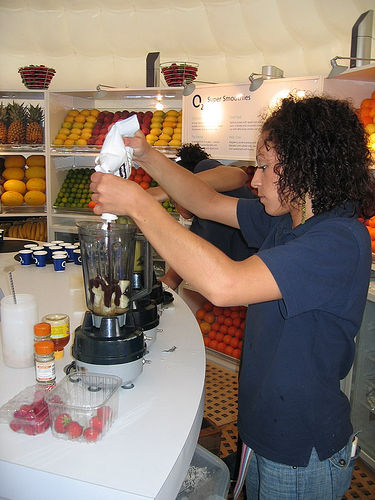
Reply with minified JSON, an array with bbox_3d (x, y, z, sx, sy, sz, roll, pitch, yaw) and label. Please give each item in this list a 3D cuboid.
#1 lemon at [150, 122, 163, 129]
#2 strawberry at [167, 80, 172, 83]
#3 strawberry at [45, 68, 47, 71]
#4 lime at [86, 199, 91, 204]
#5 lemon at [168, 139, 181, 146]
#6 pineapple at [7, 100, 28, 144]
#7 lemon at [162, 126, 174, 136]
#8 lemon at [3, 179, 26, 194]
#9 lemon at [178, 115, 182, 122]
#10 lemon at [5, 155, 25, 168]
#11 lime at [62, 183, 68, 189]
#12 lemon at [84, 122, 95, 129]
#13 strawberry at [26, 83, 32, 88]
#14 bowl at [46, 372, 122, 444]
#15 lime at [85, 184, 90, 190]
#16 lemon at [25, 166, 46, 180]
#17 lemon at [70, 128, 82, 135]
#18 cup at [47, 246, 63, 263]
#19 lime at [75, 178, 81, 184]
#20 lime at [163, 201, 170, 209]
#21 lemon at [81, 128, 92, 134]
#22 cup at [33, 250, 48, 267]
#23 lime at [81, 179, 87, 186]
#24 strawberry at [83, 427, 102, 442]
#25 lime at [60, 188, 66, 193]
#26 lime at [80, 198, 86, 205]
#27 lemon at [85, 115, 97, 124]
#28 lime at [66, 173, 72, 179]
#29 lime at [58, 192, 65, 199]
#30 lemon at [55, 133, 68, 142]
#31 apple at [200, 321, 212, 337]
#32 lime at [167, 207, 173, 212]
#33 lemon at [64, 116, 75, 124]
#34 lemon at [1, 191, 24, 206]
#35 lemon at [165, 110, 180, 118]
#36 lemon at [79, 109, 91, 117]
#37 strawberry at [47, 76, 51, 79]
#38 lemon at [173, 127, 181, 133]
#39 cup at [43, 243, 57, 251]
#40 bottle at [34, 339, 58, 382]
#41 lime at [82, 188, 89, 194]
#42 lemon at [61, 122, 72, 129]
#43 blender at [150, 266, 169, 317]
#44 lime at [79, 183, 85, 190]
[{"bbox_3d":[-0.290,-1.143,3.584,0.080,0.054,0.057,4,12,5],"label":"lemon"},{"bbox_3d":[-0.156,-1.422,3.288,0.028,0.023,0.026,-3,14,-16],"label":"strawberry"},{"bbox_3d":[-1.328,-1.679,3.640,0.009,0.027,0.026,11,9,30],"label":"strawberry"},{"bbox_3d":[-0.983,-0.480,3.843,0.040,0.025,0.049,-2,-5,-18],"label":"lime"},{"bbox_3d":[-0.108,-0.936,3.405,0.100,0.071,0.083,5,8,-4],"label":"lemon"},{"bbox_3d":[-1.673,-1.238,3.808,0.179,0.421,0.263,3,8,-24],"label":"pineapple"},{"bbox_3d":[-0.174,-1.069,3.505,0.101,0.069,0.072,3,13,0],"label":"lemon"},{"bbox_3d":[-1.743,-0.640,3.911,0.184,0.121,0.131,10,21,5],"label":"lemon"},{"bbox_3d":[-0.073,-1.215,3.611,0.033,0.069,0.074,7,8,3],"label":"lemon"},{"bbox_3d":[-1.808,-0.914,4.053,0.188,0.141,0.084,3,8,-21],"label":"lemon"},{"bbox_3d":[-1.242,-0.648,3.954,0.053,0.054,0.049,1,15,0],"label":"lime"},{"bbox_3d":[-0.986,-1.240,3.886,0.082,0.086,0.076,3,19,-2],"label":"lemon"},{"bbox_3d":[-1.517,-1.561,3.698,0.034,0.029,0.017,6,38,-1],"label":"strawberry"},{"bbox_3d":[-0.200,0.291,0.731,0.117,0.084,0.107,6,7,-1],"label":"bowl"},{"bbox_3d":[-0.996,-0.624,3.861,0.049,0.051,0.046,8,15,2],"label":"lime"},{"bbox_3d":[-1.574,-0.797,4.030,0.183,0.121,0.130,1,16,-8],"label":"lemon"},{"bbox_3d":[-1.103,-1.166,3.830,0.080,0.087,0.077,5,-6,-22],"label":"lemon"},{"bbox_3d":[-0.770,0.024,2.256,0.099,0.068,0.097,2,7,0],"label":"cup"},{"bbox_3d":[-1.103,-0.692,3.905,0.053,0.055,0.030,5,8,-5],"label":"lime"},{"bbox_3d":[-0.200,-0.404,3.531,0.066,0.074,0.044,-2,-8,-2],"label":"lime"},{"bbox_3d":[-1.002,-1.173,3.845,0.099,0.060,0.117,4,8,-14],"label":"lemon"},{"bbox_3d":[-0.800,0.048,2.107,0.090,0.062,0.080,-3,6,-3],"label":"cup"},{"bbox_3d":[-1.044,-0.679,3.893,0.052,0.055,0.049,1,9,10],"label":"lime"},{"bbox_3d":[-0.167,0.318,0.680,0.024,0.027,0.015,32,3,-3],"label":"strawberry"},{"bbox_3d":[-1.265,-0.600,3.933,0.046,0.041,0.035,-1,51,6],"label":"lime"},{"bbox_3d":[-1.040,-0.485,3.859,0.052,0.052,0.049,3,6,6],"label":"lime"},{"bbox_3d":[-0.970,-1.311,3.933,0.102,0.077,0.081,-15,-21,15],"label":"lemon"},{"bbox_3d":[-1.213,-0.752,3.965,0.060,0.056,0.034,9,8,22],"label":"lime"},{"bbox_3d":[-1.284,-0.555,3.922,0.053,0.055,0.050,4,16,7],"label":"lime"},{"bbox_3d":[-1.230,-1.091,3.793,0.105,0.072,0.076,9,22,17],"label":"lemon"},{"bbox_3d":[0.156,0.643,3.165,0.107,0.109,0.099,-1,27,5],"label":"apple"},{"bbox_3d":[-0.169,-0.368,3.525,0.036,0.044,0.087,1,9,-33],"label":"lime"},{"bbox_3d":[-1.189,-1.302,3.916,0.077,0.080,0.071,4,21,2],"label":"lemon"},{"bbox_3d":[-1.747,-0.506,3.853,0.186,0.127,0.133,12,24,8],"label":"lemon"},{"bbox_3d":[-0.128,-1.259,3.614,0.070,0.055,0.097,-4,17,-22],"label":"lemon"},{"bbox_3d":[-1.047,-1.390,3.955,0.079,0.083,0.074,1,5,1],"label":"lemon"},{"bbox_3d":[-1.329,-1.633,3.686,0.022,0.020,0.022,42,46,22],"label":"strawberry"},{"bbox_3d":[-0.090,-1.070,3.492,0.062,0.035,0.073,-2,17,-2],"label":"lemon"},{"bbox_3d":[-0.822,-0.020,2.302,0.047,0.052,0.056,1,7,0],"label":"cup"},{"bbox_3d":[-0.321,0.247,0.865,0.049,0.099,0.047,6,8,-1],"label":"bottle"},{"bbox_3d":[-1.024,-0.584,3.867,0.055,0.048,0.029,-2,12,6],"label":"lime"},{"bbox_3d":[-1.211,-1.245,3.888,0.077,0.086,0.067,6,47,-5],"label":"lemon"},{"bbox_3d":[-0.106,0.161,1.378,0.063,0.133,0.076,1,17,-4],"label":"blender"},{"bbox_3d":[-1.058,-0.626,3.867,0.056,0.045,0.052,6,21,3],"label":"lime"}]
